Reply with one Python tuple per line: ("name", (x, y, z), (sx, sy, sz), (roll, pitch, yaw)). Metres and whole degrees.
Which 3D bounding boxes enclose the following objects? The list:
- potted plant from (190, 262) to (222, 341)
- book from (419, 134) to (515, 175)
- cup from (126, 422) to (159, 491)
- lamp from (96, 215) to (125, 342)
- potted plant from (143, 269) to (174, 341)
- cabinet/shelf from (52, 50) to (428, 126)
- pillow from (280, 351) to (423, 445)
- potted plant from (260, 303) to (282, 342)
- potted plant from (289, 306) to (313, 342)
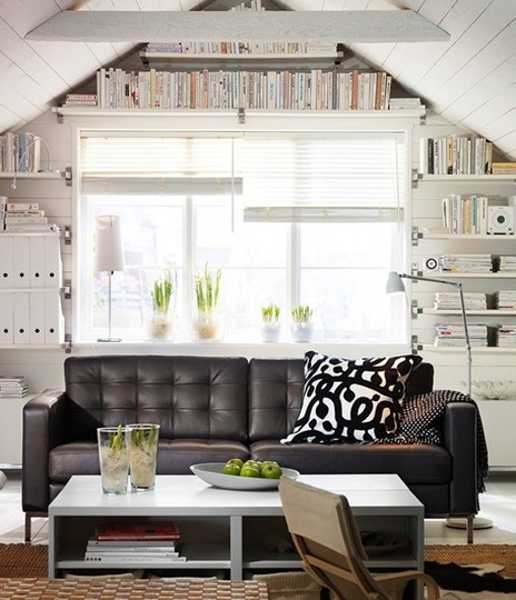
("potted plant", (-0.356, 0.016, 4.782), (0.198, 0.523, 0.316), (0, 1, -4))
("book", (1.383, -1.000, 4.655), (0.487, 0.287, 0.077), (0, 1, 2))
("cup", (-0.434, 0.628, 2.636), (0.158, 0.221, 0.156), (-1, -15, 0))
("lamp", (-1.047, -0.145, 4.698), (0.183, 0.867, 0.437), (0, 1, -14))
("potted plant", (-0.689, 0.070, 4.697), (0.154, 0.416, 0.188), (0, 1, -10))
("cabinet/shelf", (0.216, -1.512, 4.679), (2.068, 0.355, 0.324), (-7, 16, -21))
("pillow", (0.519, 0.540, 3.498), (0.674, 0.470, 0.325), (1, -4, 24))
("potted plant", (0.091, 0.164, 4.745), (0.132, 0.268, 0.110), (0, 1, -12))
("potted plant", (0.302, 0.172, 4.769), (0.179, 0.251, 0.127), (1, 1, 22))
